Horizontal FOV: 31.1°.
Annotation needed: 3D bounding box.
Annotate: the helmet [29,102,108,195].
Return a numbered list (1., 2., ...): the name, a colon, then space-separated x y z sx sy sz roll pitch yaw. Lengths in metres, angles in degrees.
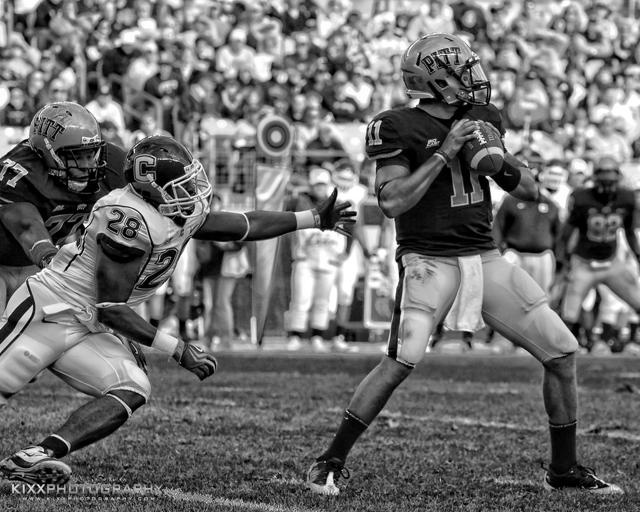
1. helmet: -1.365 -0.616 6.155 0.460 0.396 0.338 23 22 24

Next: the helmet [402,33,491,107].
1. helmet: 0.651 -0.964 5.929 0.472 0.376 0.337 -4 13 9

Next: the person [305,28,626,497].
1. person: 0.671 0.024 5.829 1.397 2.304 0.413 1 4 -4

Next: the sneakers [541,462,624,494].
1. sneakers: 1.319 1.111 5.797 0.388 0.156 0.145 2 -8 9

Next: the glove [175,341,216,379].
1. glove: -0.593 0.516 5.525 0.237 0.102 0.185 11 -27 45

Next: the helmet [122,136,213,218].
1. helmet: -0.743 -0.408 5.600 0.434 0.370 0.334 10 24 4

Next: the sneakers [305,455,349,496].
1. sneakers: 0.034 1.096 5.770 0.115 0.122 0.261 -29 13 4
